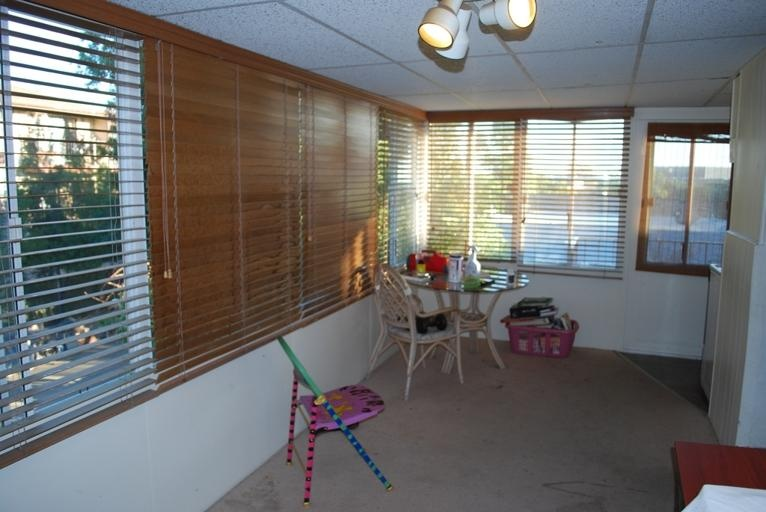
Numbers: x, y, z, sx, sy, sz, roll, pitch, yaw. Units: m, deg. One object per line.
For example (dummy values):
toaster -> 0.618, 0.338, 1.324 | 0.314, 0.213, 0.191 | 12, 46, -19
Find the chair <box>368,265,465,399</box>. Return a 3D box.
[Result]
chair -> 0.307, 0.645, 4.984 | 0.874, 1.001, 0.822 | 1, 5, -15

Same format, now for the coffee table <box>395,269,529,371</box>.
coffee table -> 0.816, 0.484, 5.313 | 1.147, 0.737, 1.212 | 3, 9, 21

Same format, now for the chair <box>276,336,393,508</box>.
chair -> -0.340, 1.007, 3.534 | 0.659, 1.113, 0.593 | -7, 17, -25
